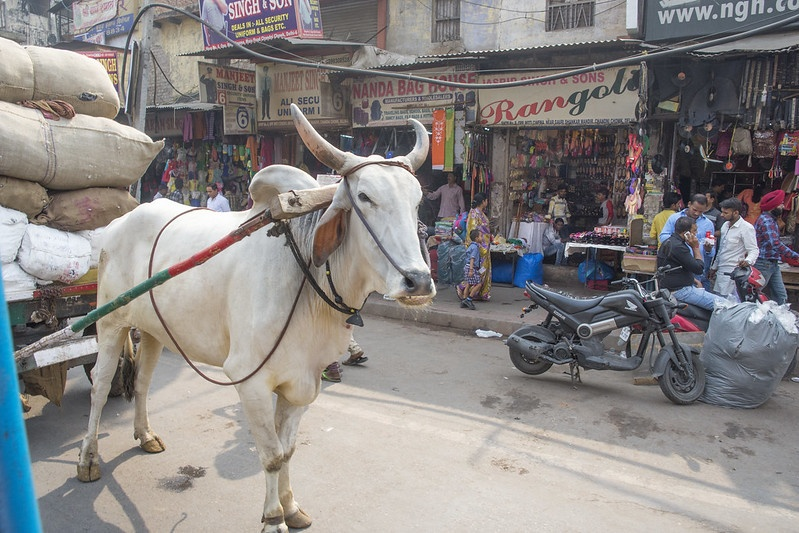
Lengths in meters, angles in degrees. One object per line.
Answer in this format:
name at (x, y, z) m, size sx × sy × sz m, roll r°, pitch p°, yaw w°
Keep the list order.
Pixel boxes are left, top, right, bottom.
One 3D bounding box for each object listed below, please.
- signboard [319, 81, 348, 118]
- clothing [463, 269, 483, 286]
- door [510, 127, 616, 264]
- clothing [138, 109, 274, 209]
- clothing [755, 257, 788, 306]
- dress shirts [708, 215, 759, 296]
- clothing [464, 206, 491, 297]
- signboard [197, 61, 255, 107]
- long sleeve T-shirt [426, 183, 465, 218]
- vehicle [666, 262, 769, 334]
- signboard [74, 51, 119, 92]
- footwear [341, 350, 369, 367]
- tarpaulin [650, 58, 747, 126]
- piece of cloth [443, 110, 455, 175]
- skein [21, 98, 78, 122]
signboard at (-1.372, -3.710, 14.372) m, size 0.093 × 0.756 × 1.015 m, roll -16°, pitch 24°, yaw -40°
clothing at (1.311, 0.207, 11.595) m, size 0.319 × 0.352 × 0.249 m, roll 3°, pitch -10°, yaw 2°
door at (3.445, -1.535, 13.673) m, size 2.748 × 2.738 × 0.916 m, roll 0°, pitch -1°, yaw 22°
clothing at (-4.252, -2.489, 14.491) m, size 3.543 × 2.637 × 0.496 m, roll 6°, pitch 4°, yaw 18°
clothing at (5.691, 0.241, 9.871) m, size 0.502 × 0.266 × 0.852 m, roll 29°, pitch -11°, yaw 49°
dress shirts at (5.192, -0.220, 10.433) m, size 0.713 × 0.946 × 1.584 m, roll -9°, pitch 3°, yaw 6°
clothing at (1.556, -0.287, 11.957) m, size 0.582 × 2.017 × 0.546 m, roll -2°, pitch 6°, yaw 4°
signboard at (-4.045, -4.250, 15.149) m, size 0.045 × 0.903 × 2.010 m, roll 8°, pitch 13°, yaw 25°
long sleeve T-shirt at (1.071, -1.509, 14.617) m, size 0.533 × 0.867 × 0.856 m, roll 16°, pitch -17°, yaw -41°
vehicle at (4.281, 0.430, 8.665) m, size 0.917 × 0.593 × 0.446 m, roll -27°, pitch 21°, yaw -4°
signboard at (-7.866, -5.042, 16.611) m, size 1.355 × 1.049 × 0.133 m, roll 3°, pitch 10°, yaw 9°
footwear at (-0.587, 1.247, 8.703) m, size 0.355 × 0.266 × 0.156 m, roll -1°, pitch 2°, yaw 9°
tarpaulin at (5.118, -3.022, 11.136) m, size 1.513 × 1.217 × 0.187 m, roll 3°, pitch 4°, yaw 6°
piece of cloth at (1.002, -2.633, 13.170) m, size 0.254 × 1.286 × 0.015 m, roll -3°, pitch 6°, yaw -30°
skein at (-3.600, -1.628, 6.648) m, size 0.324 × 0.140 × 0.258 m, roll -4°, pitch 43°, yaw -43°
